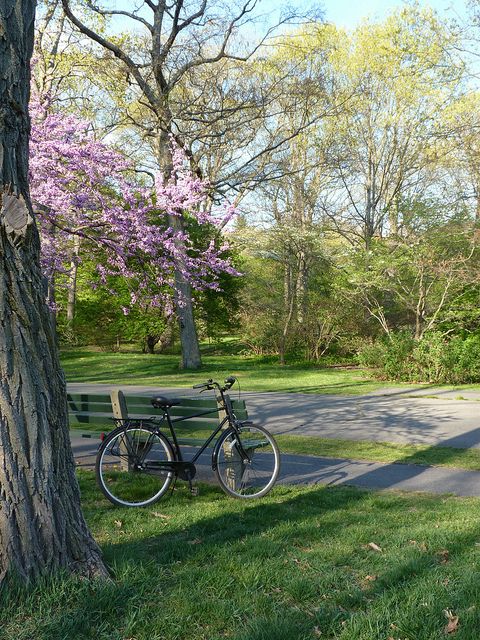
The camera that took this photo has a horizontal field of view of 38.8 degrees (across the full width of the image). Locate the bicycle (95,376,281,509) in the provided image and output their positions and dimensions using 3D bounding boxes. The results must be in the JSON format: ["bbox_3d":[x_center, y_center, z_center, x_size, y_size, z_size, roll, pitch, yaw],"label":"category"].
[{"bbox_3d":[-0.436,1.161,6.484,2.044,1.087,0.810,6,-17,-34],"label":"bicycle"}]
